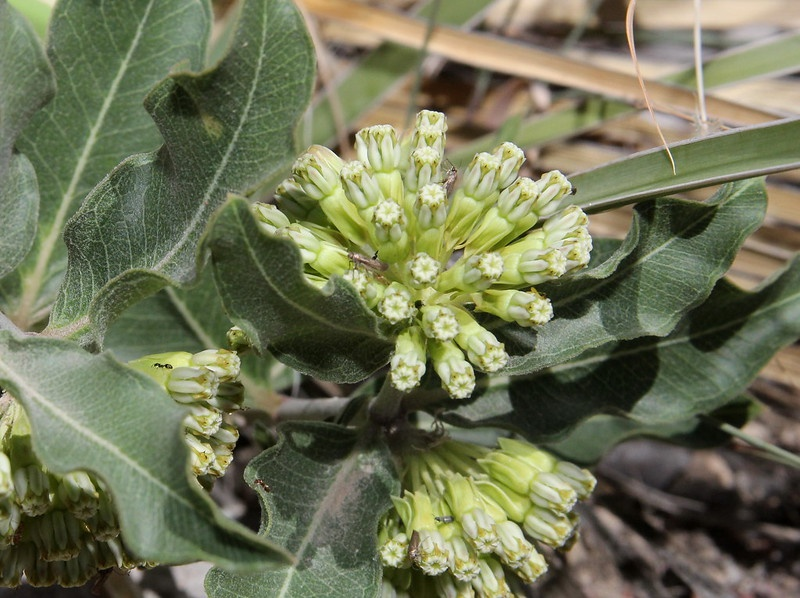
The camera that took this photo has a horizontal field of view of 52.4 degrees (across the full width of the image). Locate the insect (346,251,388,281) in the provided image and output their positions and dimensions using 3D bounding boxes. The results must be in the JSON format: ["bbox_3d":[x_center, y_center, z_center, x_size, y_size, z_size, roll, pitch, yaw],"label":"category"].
[{"bbox_3d":[-0.106,-0.101,2.451,0.082,0.068,0.144,37,27,33],"label":"insect"}]
